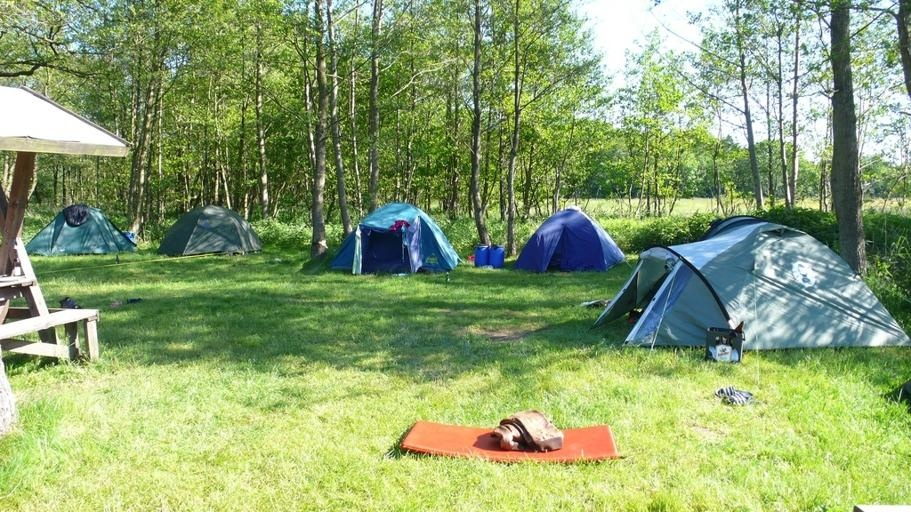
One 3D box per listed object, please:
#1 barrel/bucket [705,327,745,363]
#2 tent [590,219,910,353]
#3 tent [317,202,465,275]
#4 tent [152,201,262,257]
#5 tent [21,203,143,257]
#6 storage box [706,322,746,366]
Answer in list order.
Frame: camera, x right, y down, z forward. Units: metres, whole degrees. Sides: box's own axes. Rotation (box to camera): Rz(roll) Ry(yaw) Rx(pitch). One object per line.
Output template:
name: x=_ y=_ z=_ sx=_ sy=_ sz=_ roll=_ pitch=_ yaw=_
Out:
barrel/bucket: x=6.785 y=2.251 z=18.708 sx=0.894 sy=0.819 sz=0.841 roll=3 pitch=-8 yaw=0
tent: x=7.812 y=0.990 z=20.037 sx=5.527 sy=2.216 sz=3.953 roll=0 pitch=-1 yaw=-6
tent: x=-2.261 y=-0.703 z=27.499 sx=4.264 sy=2.575 sz=1.979 roll=1 pitch=4 yaw=-7
tent: x=-10.099 y=-0.990 z=30.937 sx=2.946 sy=1.351 sz=2.490 roll=0 pitch=-1 yaw=3
tent: x=-15.368 y=-1.097 z=30.220 sx=3.573 sy=2.042 sz=1.007 roll=-1 pitch=5 yaw=-29
storage box: x=6.831 y=2.391 z=19.004 sx=0.934 sy=1.131 sz=0.897 roll=10 pitch=-32 yaw=10
